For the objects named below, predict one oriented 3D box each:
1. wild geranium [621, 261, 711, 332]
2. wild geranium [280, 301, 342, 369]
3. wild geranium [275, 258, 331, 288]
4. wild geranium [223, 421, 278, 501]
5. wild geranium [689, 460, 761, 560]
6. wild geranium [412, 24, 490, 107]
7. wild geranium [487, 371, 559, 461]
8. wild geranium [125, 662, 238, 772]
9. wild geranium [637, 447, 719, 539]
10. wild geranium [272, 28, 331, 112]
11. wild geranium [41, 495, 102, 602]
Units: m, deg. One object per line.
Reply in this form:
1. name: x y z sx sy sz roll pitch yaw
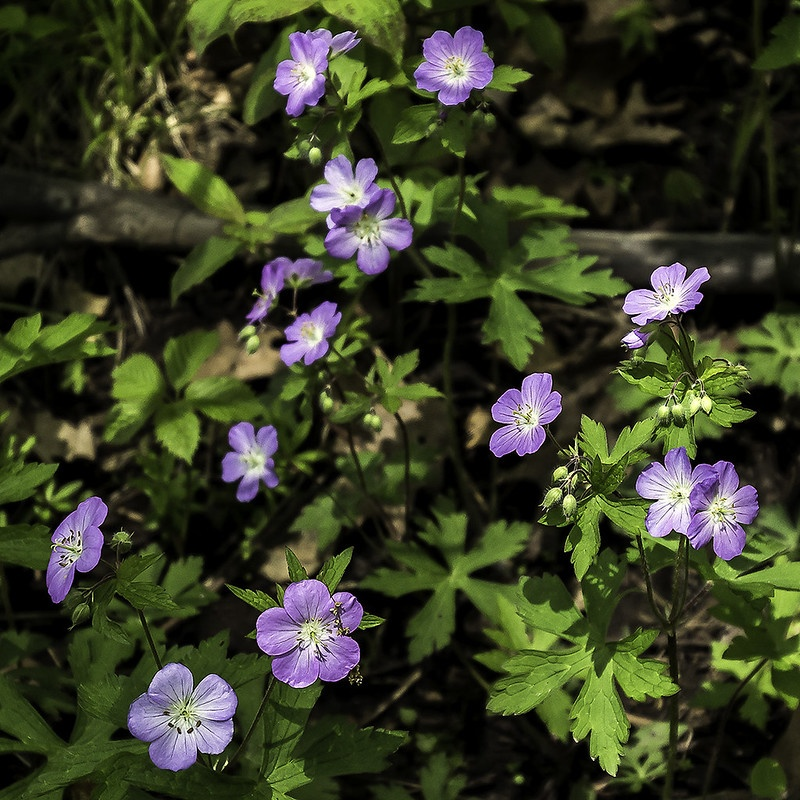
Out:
1. wild geranium: 0.712 -0.280 2.328 0.171 0.154 0.164 31 64 14
2. wild geranium: -0.268 -0.178 2.584 0.173 0.239 0.169 1 61 -1
3. wild geranium: -0.303 -0.403 2.740 0.109 0.040 0.106 -8 46 -18
4. wild geranium: -0.473 0.191 2.697 0.184 0.224 0.229 -4 61 -5
5. wild geranium: 0.819 0.259 2.188 0.231 0.075 0.229 43 73 -31
6. wild geranium: 0.155 -0.949 2.467 0.222 0.172 0.199 12 61 4
7. wild geranium: 0.341 0.035 2.375 0.168 0.201 0.232 13 62 5
8. wild geranium: -0.538 0.794 2.160 0.241 0.095 0.244 42 68 17
9. wild geranium: 0.692 0.235 2.173 0.071 0.190 0.223 8 76 -32
10. wild geranium: -0.267 -0.943 2.561 0.078 0.227 0.216 8 43 -14
11. wild geranium: -0.865 0.387 2.293 0.128 0.249 0.257 20 56 -18
